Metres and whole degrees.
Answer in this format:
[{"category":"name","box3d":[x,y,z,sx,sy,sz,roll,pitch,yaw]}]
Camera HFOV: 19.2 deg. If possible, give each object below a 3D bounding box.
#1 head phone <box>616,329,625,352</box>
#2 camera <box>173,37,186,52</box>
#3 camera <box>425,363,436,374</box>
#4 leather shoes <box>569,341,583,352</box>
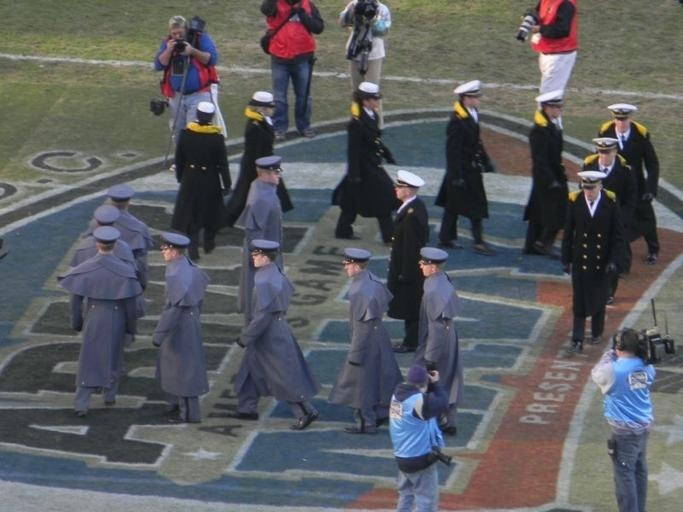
[{"category":"head phone","box3d":[4.039,1.200,29.263,0.125,0.212,0.202,0,-8,16]},{"category":"camera","box3d":[-2.890,-3.788,36.090,0.205,0.242,0.189,-3,23,-5]},{"category":"camera","box3d":[1.325,1.658,29.979,0.168,0.102,0.040,1,-4,-7]},{"category":"leather shoes","box3d":[3.780,1.437,32.312,0.167,0.120,0.212,1,20,2]}]
